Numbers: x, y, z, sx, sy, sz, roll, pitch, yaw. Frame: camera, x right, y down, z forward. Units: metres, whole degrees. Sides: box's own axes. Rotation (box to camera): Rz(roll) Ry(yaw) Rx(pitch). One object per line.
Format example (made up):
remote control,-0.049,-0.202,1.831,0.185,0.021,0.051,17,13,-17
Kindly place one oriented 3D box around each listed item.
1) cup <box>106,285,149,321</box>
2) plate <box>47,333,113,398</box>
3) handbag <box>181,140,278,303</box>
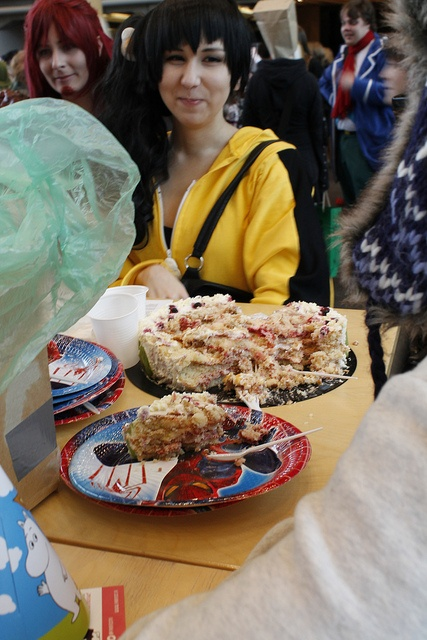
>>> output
cup,-0.181,-0.046,1.090,0.072,0.053,0.077,1,25,0
plate,-0.226,0.070,0.868,0.086,0.015,0.090,12,29,20
handbag,0.057,-0.299,1.643,0.334,0.442,0.147,12,-2,11
